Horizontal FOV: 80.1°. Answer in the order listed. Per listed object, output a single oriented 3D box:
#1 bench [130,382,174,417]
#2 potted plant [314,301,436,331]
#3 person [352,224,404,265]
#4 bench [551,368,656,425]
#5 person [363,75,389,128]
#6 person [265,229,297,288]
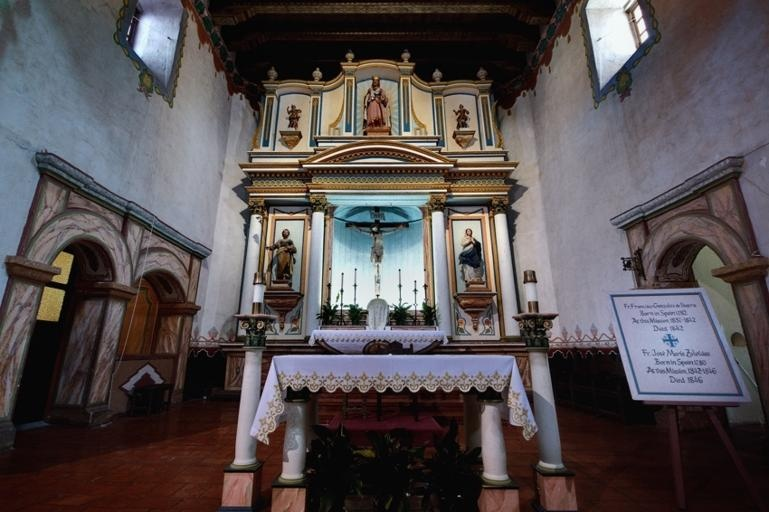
[{"bbox_3d":[-4.031,2.413,7.851,0.569,0.358,0.327,-7,-12,26],"label":"bench"},{"bbox_3d":[-0.165,1.214,9.576,2.366,0.513,1.190,1,-13,-7],"label":"potted plant"},{"bbox_3d":[-0.175,-0.310,10.652,1.308,1.078,0.432,0,-13,-1],"label":"person"},{"bbox_3d":[3.388,2.176,7.011,0.444,0.610,1.579,10,-23,-8],"label":"bench"},{"bbox_3d":[-0.199,-3.610,10.872,0.615,1.295,0.310,1,-13,-4],"label":"person"},{"bbox_3d":[-2.231,0.022,9.878,0.610,1.292,0.460,2,-13,-10],"label":"person"}]
